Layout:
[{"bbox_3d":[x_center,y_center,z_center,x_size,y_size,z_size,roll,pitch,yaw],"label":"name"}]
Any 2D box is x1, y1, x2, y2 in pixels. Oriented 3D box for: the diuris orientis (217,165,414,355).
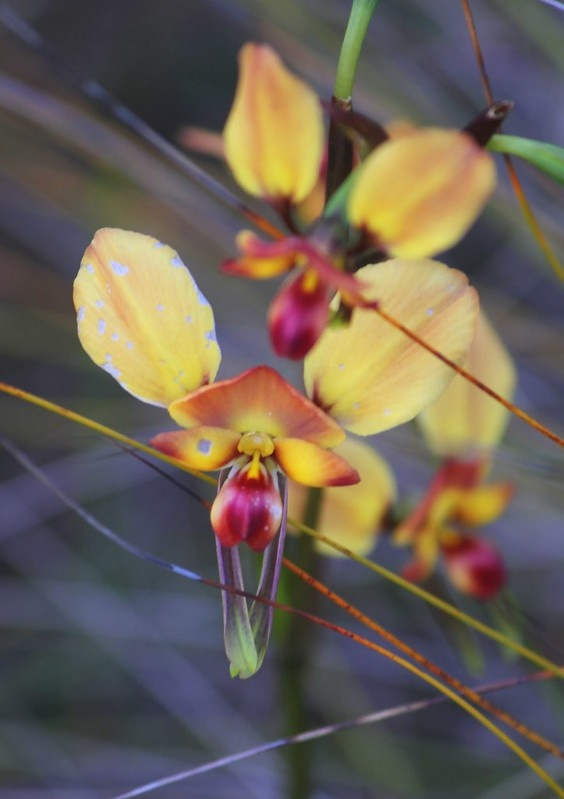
[{"bbox_3d":[0.007,-0.039,0.227,0.045,0.051,0.042,-10,-15,33],"label":"diuris orientis"}]
